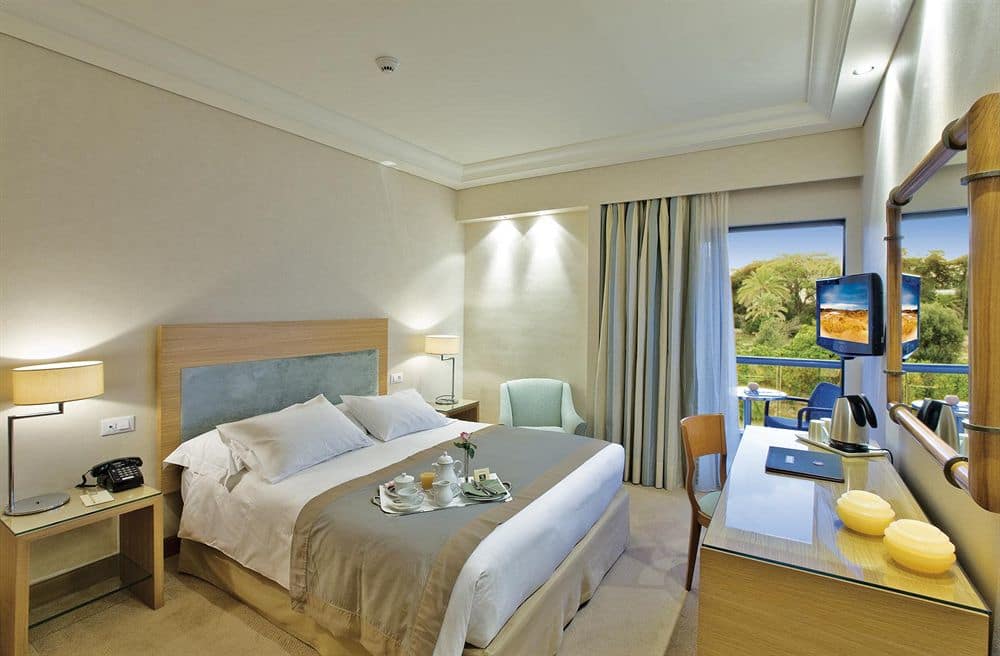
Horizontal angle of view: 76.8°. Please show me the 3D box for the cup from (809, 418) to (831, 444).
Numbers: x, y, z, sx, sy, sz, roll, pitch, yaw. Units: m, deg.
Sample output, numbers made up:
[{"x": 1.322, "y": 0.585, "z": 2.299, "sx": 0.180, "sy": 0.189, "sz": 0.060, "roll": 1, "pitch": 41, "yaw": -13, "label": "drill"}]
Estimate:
[{"x": 2.040, "y": 0.665, "z": 4.112, "sx": 0.172, "sy": 0.169, "sz": 0.104, "roll": 1, "pitch": -3, "yaw": 38, "label": "cup"}]

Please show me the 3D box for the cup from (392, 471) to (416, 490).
[{"x": -0.600, "y": 0.958, "z": 3.991, "sx": 0.127, "sy": 0.109, "sz": 0.097, "roll": -2, "pitch": 1, "yaw": -13, "label": "cup"}]

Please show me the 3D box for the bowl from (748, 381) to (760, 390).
[{"x": 2.428, "y": 0.540, "z": 6.079, "sx": 0.083, "sy": 0.059, "sz": 0.083, "roll": -2, "pitch": 8, "yaw": 0, "label": "bowl"}]

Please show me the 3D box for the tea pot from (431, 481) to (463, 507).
[{"x": -0.333, "y": 1.021, "z": 3.987, "sx": 0.220, "sy": 0.135, "sz": 0.185, "roll": -5, "pitch": 1, "yaw": -26, "label": "tea pot"}]

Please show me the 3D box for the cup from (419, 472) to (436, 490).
[{"x": -0.466, "y": 0.987, "z": 4.115, "sx": 0.084, "sy": 0.069, "sz": 0.093, "roll": 3, "pitch": 5, "yaw": 33, "label": "cup"}]

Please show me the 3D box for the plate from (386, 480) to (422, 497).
[{"x": -0.631, "y": 1.000, "z": 3.982, "sx": 0.171, "sy": 0.068, "sz": 0.111, "roll": -6, "pitch": -6, "yaw": 35, "label": "plate"}]

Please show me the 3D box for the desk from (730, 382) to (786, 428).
[{"x": 2.660, "y": 0.767, "z": 6.499, "sx": 0.597, "sy": 0.406, "sz": 0.595, "roll": -8, "pitch": 9, "yaw": -36, "label": "desk"}]

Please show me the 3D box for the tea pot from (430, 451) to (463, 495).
[{"x": -0.339, "y": 0.929, "z": 4.116, "sx": 0.220, "sy": 0.250, "sz": 0.183, "roll": -2, "pitch": 2, "yaw": -36, "label": "tea pot"}]

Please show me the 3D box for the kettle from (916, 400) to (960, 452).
[{"x": 2.143, "y": 0.478, "z": 3.140, "sx": 0.222, "sy": 0.228, "sz": 0.134, "roll": 13, "pitch": -17, "yaw": -3, "label": "kettle"}]

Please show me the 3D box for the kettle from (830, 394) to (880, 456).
[{"x": 2.217, "y": 0.576, "z": 3.925, "sx": 0.239, "sy": 0.375, "sz": 0.371, "roll": 10, "pitch": -13, "yaw": -6, "label": "kettle"}]

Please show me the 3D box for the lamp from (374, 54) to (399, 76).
[{"x": -0.808, "y": -1.897, "z": 4.527, "sx": 0.166, "sy": 0.054, "sz": 0.227, "roll": -5, "pitch": 1, "yaw": -8, "label": "lamp"}]
